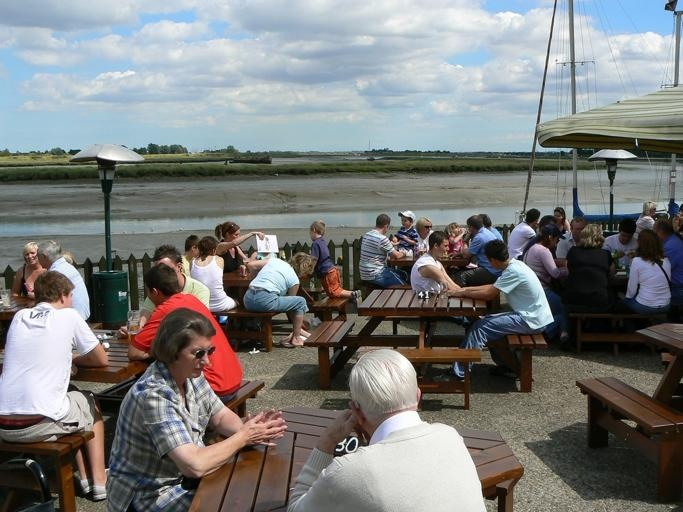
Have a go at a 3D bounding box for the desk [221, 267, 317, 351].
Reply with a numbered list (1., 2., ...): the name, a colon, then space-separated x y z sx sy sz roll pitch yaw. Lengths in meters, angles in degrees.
1. desk: -1.057 0.625 9.154 1.222 1.284 1.193 10 -3 -16

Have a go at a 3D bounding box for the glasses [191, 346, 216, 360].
1. glasses: -0.873 0.611 3.716 0.040 0.068 0.172 3 10 31

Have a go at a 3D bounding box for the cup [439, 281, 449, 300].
1. cup: 1.375 0.466 7.763 0.062 0.168 0.134 9 -3 -17

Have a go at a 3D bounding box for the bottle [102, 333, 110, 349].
1. bottle: -2.301 0.837 5.629 0.083 0.096 0.256 5 18 -22

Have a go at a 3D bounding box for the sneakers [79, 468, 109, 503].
1. sneakers: -2.149 1.988 4.941 0.329 0.192 0.101 3 11 28
